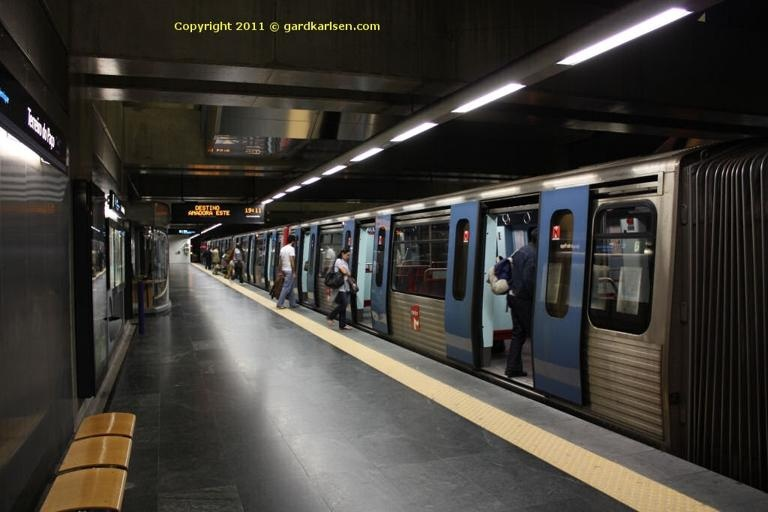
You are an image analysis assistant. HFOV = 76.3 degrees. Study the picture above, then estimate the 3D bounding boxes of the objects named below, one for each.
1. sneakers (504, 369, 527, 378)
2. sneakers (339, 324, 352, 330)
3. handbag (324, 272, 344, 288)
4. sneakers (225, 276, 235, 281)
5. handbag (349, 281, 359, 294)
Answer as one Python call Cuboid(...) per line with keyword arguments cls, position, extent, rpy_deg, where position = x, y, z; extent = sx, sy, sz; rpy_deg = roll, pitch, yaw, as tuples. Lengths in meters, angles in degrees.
Cuboid(cls="sneakers", position=(1.969, 1.763, 7.423), extent=(0.357, 0.154, 0.121), rpy_deg=(-1, 5, -19))
Cuboid(cls="sneakers", position=(-0.936, 1.703, 11.758), extent=(0.276, 0.110, 0.103), rpy_deg=(0, 2, -5))
Cuboid(cls="handbag", position=(-1.186, 0.562, 11.580), extent=(0.458, 0.486, 0.237), rpy_deg=(4, 6, 34))
Cuboid(cls="sneakers", position=(-8.164, 1.154, 25.753), extent=(0.595, 0.256, 0.201), rpy_deg=(20, 12, 33))
Cuboid(cls="handbag", position=(-0.743, 0.756, 11.692), extent=(0.229, 0.235, 0.084), rpy_deg=(-1, -7, -18))
